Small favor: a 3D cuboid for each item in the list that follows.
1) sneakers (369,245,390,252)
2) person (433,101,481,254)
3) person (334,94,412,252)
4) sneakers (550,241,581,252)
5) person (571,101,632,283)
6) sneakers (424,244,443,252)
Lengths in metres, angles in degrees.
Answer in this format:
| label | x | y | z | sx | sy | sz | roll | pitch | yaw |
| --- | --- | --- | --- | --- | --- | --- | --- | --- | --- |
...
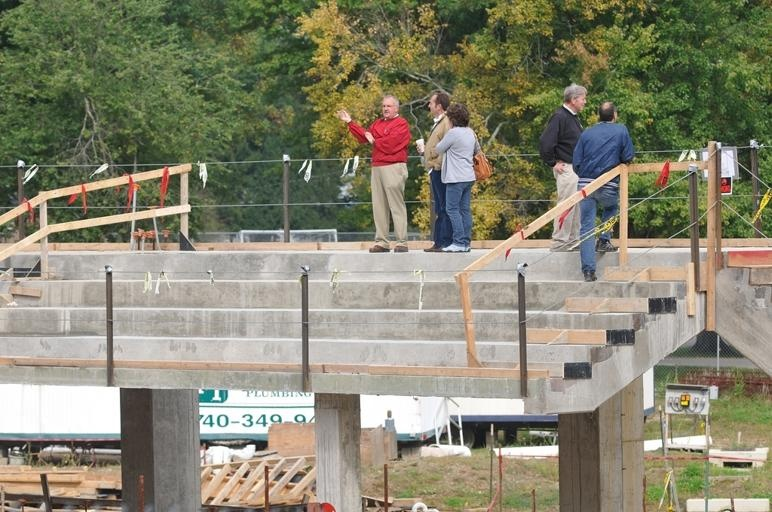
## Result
| label | x | y | z | sx | sy | sz | roll | pitch | yaw |
| --- | --- | --- | --- | --- | --- | --- | --- | --- | --- |
| sneakers | -0.077 | -0.193 | 64.478 | 0.444 | 0.210 | 0.197 | 4 | 2 | -3 |
| person | 1.904 | -1.978 | 63.951 | 1.049 | 3.763 | 0.759 | -3 | -7 | 7 |
| person | 0.004 | -2.077 | 64.683 | 1.387 | 4.064 | 1.101 | -2 | -7 | -1 |
| sneakers | 4.527 | -0.270 | 63.295 | 0.665 | 0.299 | 0.267 | 1 | 2 | 24 |
| person | 5.373 | -1.619 | 62.855 | 1.370 | 4.440 | 0.937 | -2 | -7 | 4 |
| sneakers | 1.291 | -0.224 | 64.320 | 0.496 | 0.204 | 0.173 | 1 | -4 | -14 |
